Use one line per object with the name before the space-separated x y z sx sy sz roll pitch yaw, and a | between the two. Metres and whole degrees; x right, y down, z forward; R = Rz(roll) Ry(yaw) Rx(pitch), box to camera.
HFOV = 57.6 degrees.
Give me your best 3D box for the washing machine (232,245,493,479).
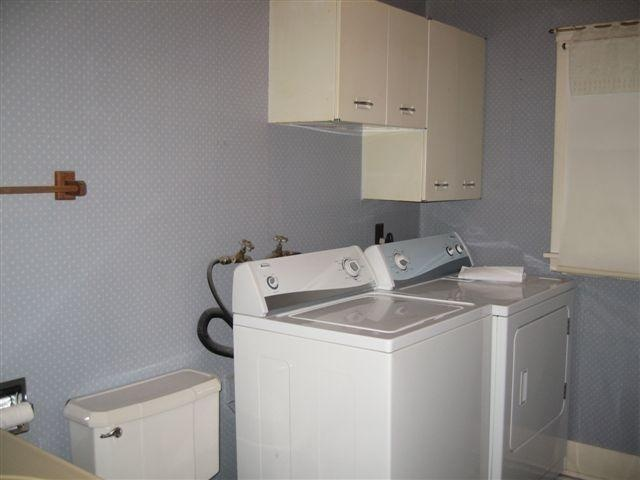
washing machine | 0.205 0.610 2.701 0.838 1.103 0.905 4 8 43
